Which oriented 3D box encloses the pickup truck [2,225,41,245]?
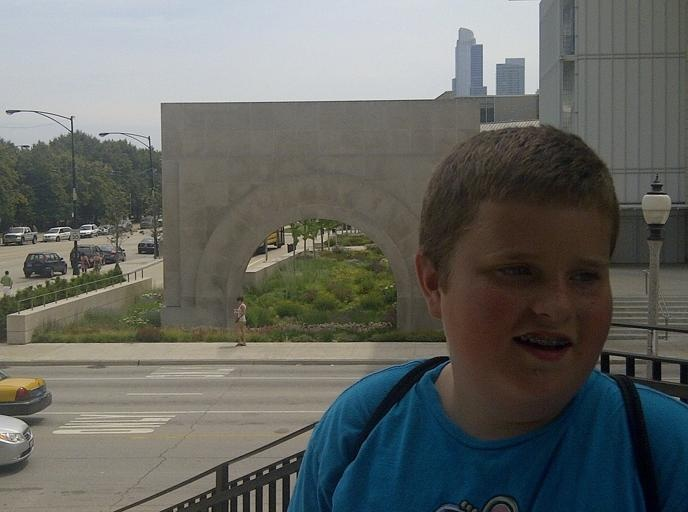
[{"bbox_3d":[-27.866,-1.855,90.744,1.571,1.164,2.691,-1,-1,-3],"label":"pickup truck"}]

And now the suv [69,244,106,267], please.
[{"bbox_3d":[-17.324,0.185,71.560,1.539,1.525,2.700,2,13,6],"label":"suv"}]
